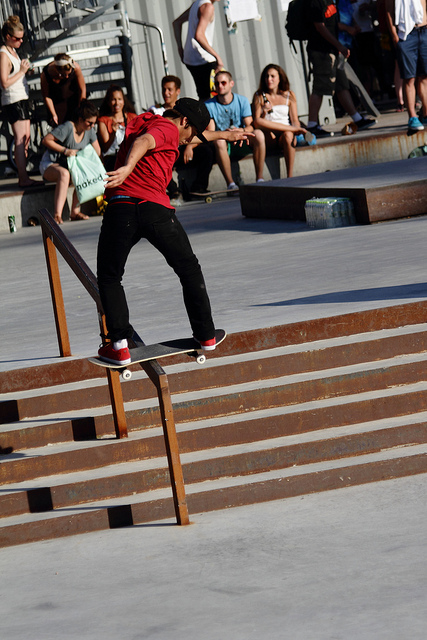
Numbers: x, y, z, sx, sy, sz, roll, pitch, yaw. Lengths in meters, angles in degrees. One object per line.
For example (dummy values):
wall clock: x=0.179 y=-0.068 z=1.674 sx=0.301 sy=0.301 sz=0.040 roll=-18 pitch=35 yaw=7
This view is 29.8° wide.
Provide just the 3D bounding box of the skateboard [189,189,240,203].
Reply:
skateboard: x=0.039 y=-1.579 z=10.119 sx=0.538 sy=0.163 sz=0.500 roll=-15 pitch=10 yaw=-40

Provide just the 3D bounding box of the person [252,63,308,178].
person: x=0.746 y=-2.323 z=9.438 sx=0.488 sy=1.282 sz=0.535 roll=-2 pitch=11 yaw=41

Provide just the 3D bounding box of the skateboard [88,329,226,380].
skateboard: x=-0.163 y=0.105 z=3.124 sx=0.694 sy=0.112 sz=0.168 roll=-13 pitch=30 yaw=-43

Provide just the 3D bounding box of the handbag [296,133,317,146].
handbag: x=1.165 y=-2.223 z=9.857 sx=0.312 sy=0.102 sz=0.131 roll=10 pitch=21 yaw=19

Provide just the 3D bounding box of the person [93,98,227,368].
person: x=-0.269 y=-0.307 z=3.174 sx=0.309 sy=0.975 sz=0.625 roll=-3 pitch=10 yaw=37

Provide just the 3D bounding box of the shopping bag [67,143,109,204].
shopping bag: x=-1.353 y=-1.584 z=8.757 sx=0.462 sy=0.590 sz=0.223 roll=-22 pitch=-12 yaw=7

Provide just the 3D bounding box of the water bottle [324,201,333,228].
water bottle: x=0.988 y=-0.913 z=6.924 sx=0.059 sy=0.230 sz=0.181 roll=-7 pitch=8 yaw=9
